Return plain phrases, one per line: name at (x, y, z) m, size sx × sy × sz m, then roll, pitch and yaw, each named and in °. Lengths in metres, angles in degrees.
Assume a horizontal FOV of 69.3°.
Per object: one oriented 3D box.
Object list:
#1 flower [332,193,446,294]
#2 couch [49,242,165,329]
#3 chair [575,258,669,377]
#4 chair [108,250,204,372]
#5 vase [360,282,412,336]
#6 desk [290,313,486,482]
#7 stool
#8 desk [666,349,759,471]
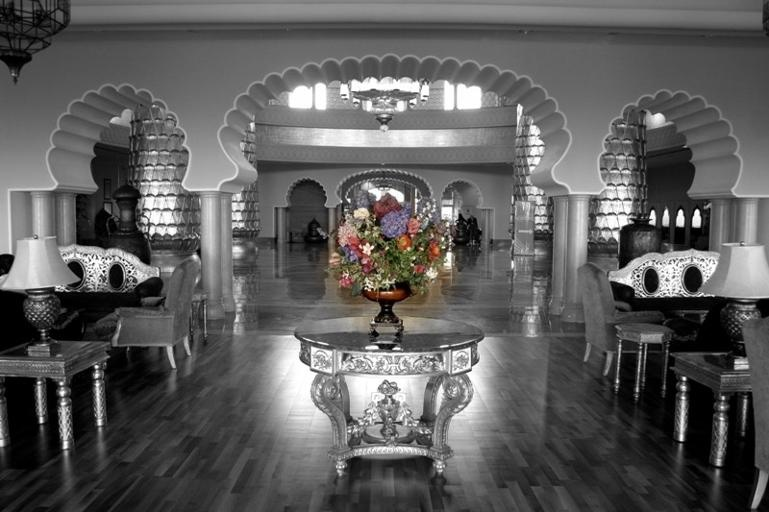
flower at (0.047, -0.105, 4.950) m, size 0.831 × 0.704 × 0.846 m, roll 3°, pitch -3°, yaw 0°
couch at (-3.664, 0.427, 7.312) m, size 1.291 × 0.764 × 0.478 m, roll 1°, pitch 2°, yaw -4°
chair at (2.982, 0.678, 7.236) m, size 1.154 × 1.813 × 1.300 m, roll -1°, pitch 4°, yaw -2°
chair at (-3.045, 0.626, 6.999) m, size 1.216 × 1.713 × 1.317 m, roll 1°, pitch 0°, yaw -1°
vase at (0.033, 0.477, 4.954) m, size 0.436 × 0.496 × 0.435 m, roll 1°, pitch -4°, yaw 0°
desk at (0.049, 1.169, 4.738) m, size 1.481 × 1.141 × 0.715 m, roll 0°, pitch 8°, yaw 0°
stool at (2.822, 1.178, 6.271) m, size 0.747 × 0.809 × 0.779 m, roll 1°, pitch -1°, yaw -2°
desk at (2.867, 1.316, 4.895) m, size 0.926 × 0.571 × 0.944 m, roll 7°, pitch -3°, yaw 14°
